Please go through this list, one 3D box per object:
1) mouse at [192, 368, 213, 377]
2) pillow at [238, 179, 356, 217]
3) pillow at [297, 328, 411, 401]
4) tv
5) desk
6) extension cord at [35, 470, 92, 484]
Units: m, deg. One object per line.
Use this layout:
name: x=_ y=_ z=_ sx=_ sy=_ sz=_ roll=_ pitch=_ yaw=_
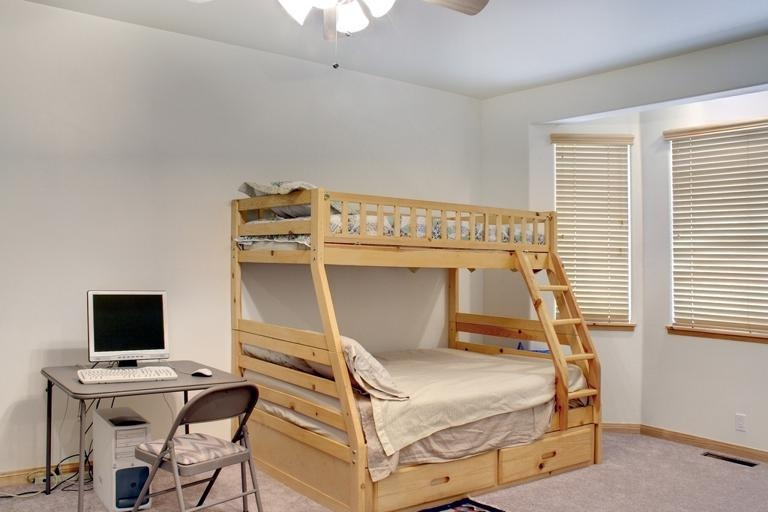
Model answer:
mouse: x=-1.338 y=0.862 z=4.175 sx=0.103 sy=0.031 sz=0.067 roll=3 pitch=-1 yaw=9
pillow: x=-0.798 y=-0.478 z=4.412 sx=0.515 sy=0.171 sz=0.513 roll=0 pitch=1 yaw=-44
pillow: x=-0.059 y=0.799 z=4.012 sx=0.500 sy=0.432 sz=0.189 roll=1 pitch=6 yaw=-7
tv: x=-1.968 y=0.540 z=4.306 sx=0.614 sy=0.586 sz=0.184 roll=1 pitch=-11 yaw=-28
desk: x=-1.814 y=1.463 z=4.162 sx=1.384 sy=0.983 sz=1.107 roll=4 pitch=-6 yaw=-36
extension cord: x=-2.551 y=1.728 z=4.386 sx=0.177 sy=0.039 sz=0.164 roll=-3 pitch=-4 yaw=40
